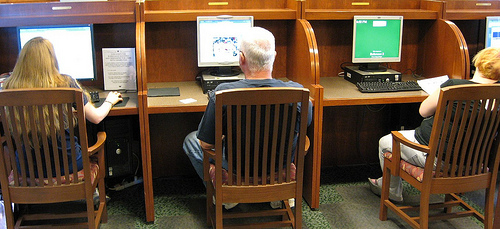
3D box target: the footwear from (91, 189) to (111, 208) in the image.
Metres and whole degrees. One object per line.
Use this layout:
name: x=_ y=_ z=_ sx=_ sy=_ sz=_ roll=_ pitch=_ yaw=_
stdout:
footwear: x=-1.801 y=1.003 z=4.300 sx=0.132 sy=0.147 sz=0.372 roll=-1 pitch=12 yaw=8

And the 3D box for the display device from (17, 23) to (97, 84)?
display device: x=-2.142 y=-0.697 z=3.923 sx=0.885 sy=0.611 sz=0.085 roll=-1 pitch=16 yaw=-3

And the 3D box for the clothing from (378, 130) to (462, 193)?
clothing: x=1.839 y=0.530 z=4.171 sx=0.682 sy=0.779 sz=0.585 roll=-8 pitch=18 yaw=-27

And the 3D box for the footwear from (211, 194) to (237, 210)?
footwear: x=-0.264 y=1.086 z=4.238 sx=0.273 sy=0.089 sz=0.254 roll=14 pitch=28 yaw=2

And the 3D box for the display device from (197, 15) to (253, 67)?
display device: x=-0.299 y=-0.886 z=4.178 sx=0.822 sy=0.636 sz=0.086 roll=0 pitch=8 yaw=-8

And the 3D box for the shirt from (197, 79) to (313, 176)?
shirt: x=0.059 y=0.149 z=3.557 sx=0.930 sy=1.258 sz=0.770 roll=-3 pitch=33 yaw=-6

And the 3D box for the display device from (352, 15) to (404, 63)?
display device: x=1.591 y=-0.966 z=4.489 sx=0.680 sy=0.510 sz=0.065 roll=-1 pitch=10 yaw=-11

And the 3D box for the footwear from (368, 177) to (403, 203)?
footwear: x=1.654 y=0.883 z=4.520 sx=0.198 sy=0.215 sz=0.543 roll=-10 pitch=24 yaw=-11
